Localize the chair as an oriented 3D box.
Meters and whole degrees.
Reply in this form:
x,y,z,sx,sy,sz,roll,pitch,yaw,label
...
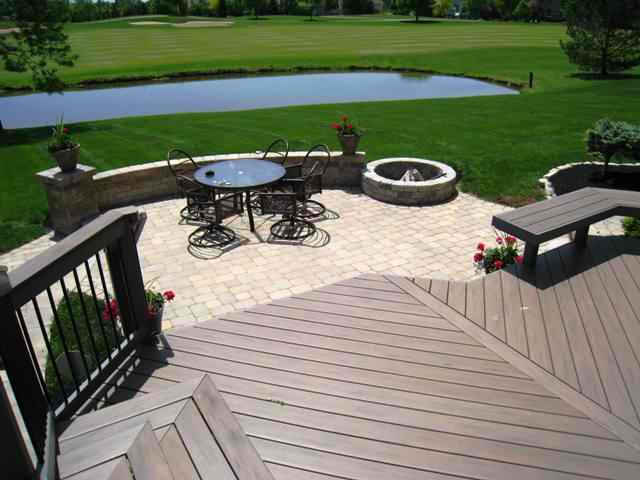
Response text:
x,y,z,sx,sy,sz,roll,pitch,yaw,label
-1.249,-0.932,8.282,2.669,1.454,2.479,-7,23,-5,chair

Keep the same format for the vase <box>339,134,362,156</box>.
x,y,z,sx,sy,sz,roll,pitch,yaw,label
0.586,-1.925,9.309,0.428,0.269,0.391,-1,19,-2,vase

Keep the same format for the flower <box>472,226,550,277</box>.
x,y,z,sx,sy,sz,roll,pitch,yaw,label
2.460,0.195,6.179,0.813,0.727,0.470,1,1,-7,flower

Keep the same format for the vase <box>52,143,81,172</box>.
x,y,z,sx,sy,sz,roll,pitch,yaw,label
-4.254,-1.390,7.754,0.519,0.352,0.473,0,8,-2,vase
